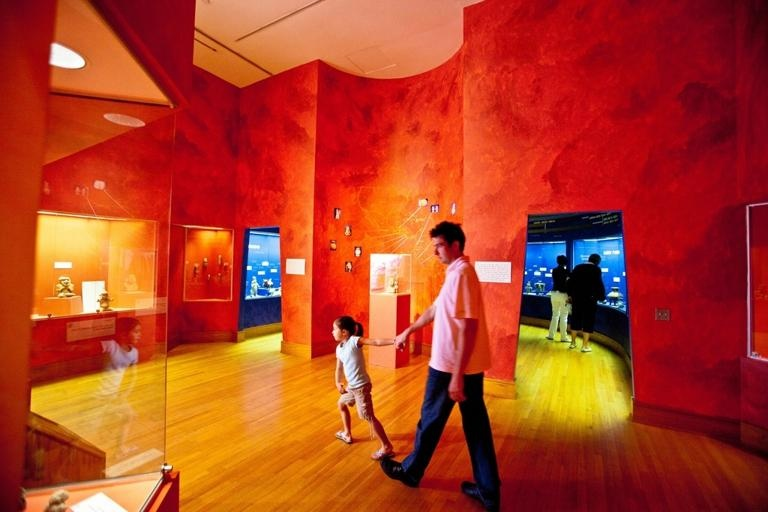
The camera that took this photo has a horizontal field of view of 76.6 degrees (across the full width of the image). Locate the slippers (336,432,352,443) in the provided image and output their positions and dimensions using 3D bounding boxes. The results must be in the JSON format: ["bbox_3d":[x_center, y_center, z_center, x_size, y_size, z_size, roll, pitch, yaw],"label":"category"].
[{"bbox_3d":[-0.434,1.939,5.249,0.171,0.069,0.089,12,2,39],"label":"slippers"}]

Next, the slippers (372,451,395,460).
[{"bbox_3d":[-0.021,2.002,4.914,0.198,0.086,0.105,2,-7,3],"label":"slippers"}]

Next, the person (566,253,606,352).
[{"bbox_3d":[3.312,0.851,8.063,0.297,1.488,0.641,1,-1,-35],"label":"person"}]

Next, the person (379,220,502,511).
[{"bbox_3d":[0.570,0.989,4.406,0.926,2.610,0.452,0,0,13],"label":"person"}]
